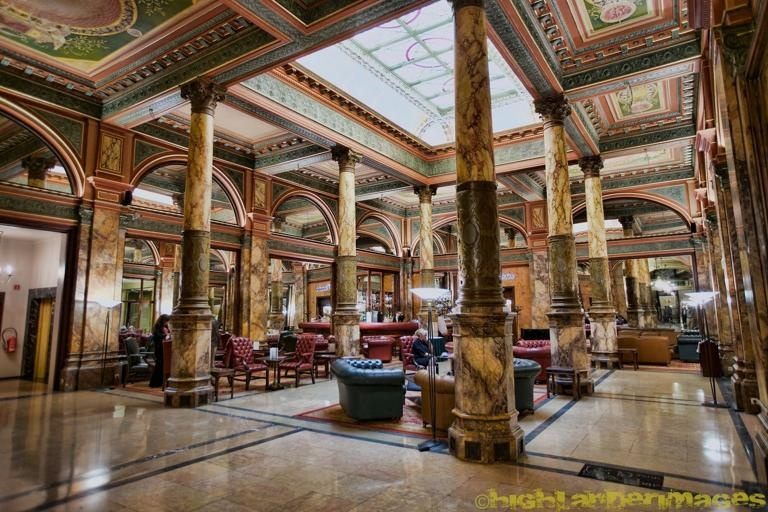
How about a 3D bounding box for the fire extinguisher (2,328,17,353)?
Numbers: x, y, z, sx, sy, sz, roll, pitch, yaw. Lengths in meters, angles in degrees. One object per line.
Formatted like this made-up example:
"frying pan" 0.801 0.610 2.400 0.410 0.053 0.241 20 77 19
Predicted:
"fire extinguisher" -10.231 2.288 12.684 0.238 0.604 0.380 -23 -12 36
